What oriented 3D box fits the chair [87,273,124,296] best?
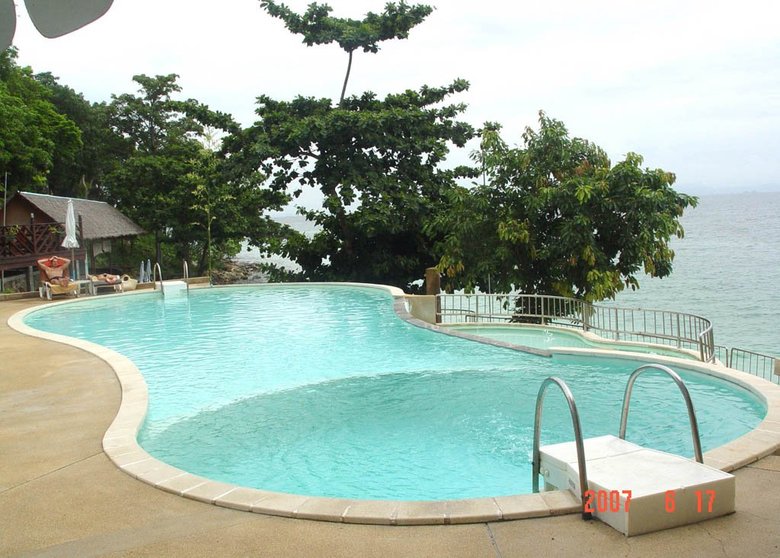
[{"bbox_3d":[-9.733,0.215,20.330,1.038,0.663,1.673,-4,11,-16],"label":"chair"}]

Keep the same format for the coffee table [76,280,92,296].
[{"bbox_3d":[-10.286,0.304,20.005,0.444,0.471,0.445,7,9,27],"label":"coffee table"}]

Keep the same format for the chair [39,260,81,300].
[{"bbox_3d":[-10.703,-0.033,19.253,1.164,1.237,1.043,-3,8,-25],"label":"chair"}]
